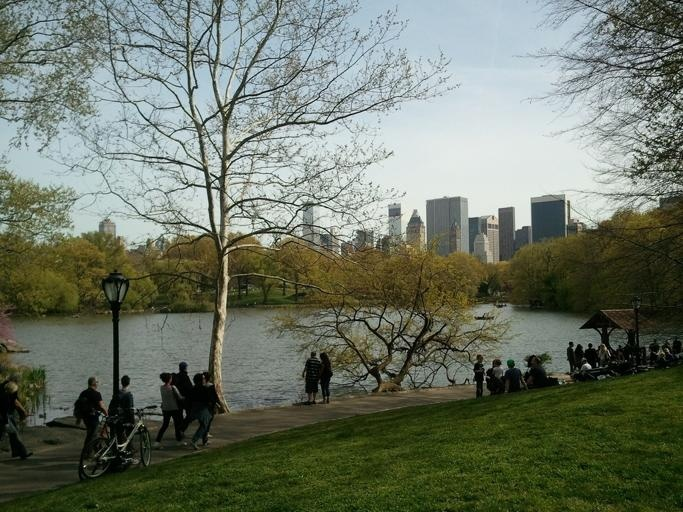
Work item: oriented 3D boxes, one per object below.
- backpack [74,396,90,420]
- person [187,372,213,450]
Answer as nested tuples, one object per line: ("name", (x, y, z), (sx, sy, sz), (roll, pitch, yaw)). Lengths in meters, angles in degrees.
("backpack", (-7.635, 4.540, 28.562), (0.484, 0.614, 0.630), (2, -5, -7))
("person", (-4.344, 4.842, 30.082), (0.631, 2.304, 1.006), (-1, -6, -9))
